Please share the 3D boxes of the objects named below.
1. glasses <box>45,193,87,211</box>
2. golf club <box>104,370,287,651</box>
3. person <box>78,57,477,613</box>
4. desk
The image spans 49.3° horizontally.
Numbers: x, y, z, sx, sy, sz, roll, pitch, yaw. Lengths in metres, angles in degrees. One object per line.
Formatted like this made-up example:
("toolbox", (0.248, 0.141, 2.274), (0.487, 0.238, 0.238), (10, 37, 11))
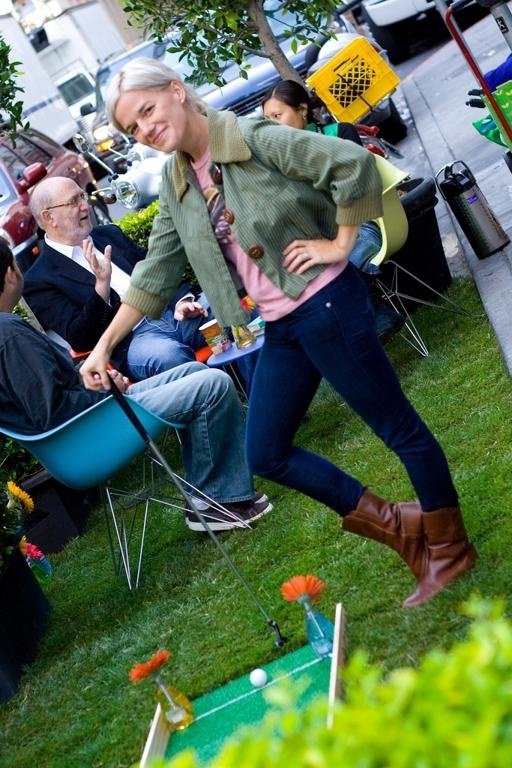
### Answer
("glasses", (-1.383, -1.317, 4.042), (0.184, 0.052, 0.180), (-8, 18, 14))
("golf club", (-0.310, 0.655, 2.840), (0.225, 1.595, 0.175), (-42, 0, -13))
("person", (0.173, -0.163, 1.774), (0.841, 1.630, 0.337), (-36, 13, 4))
("desk", (-0.089, -0.116, 3.654), (0.526, 0.571, 0.549), (-5, 18, 5))
